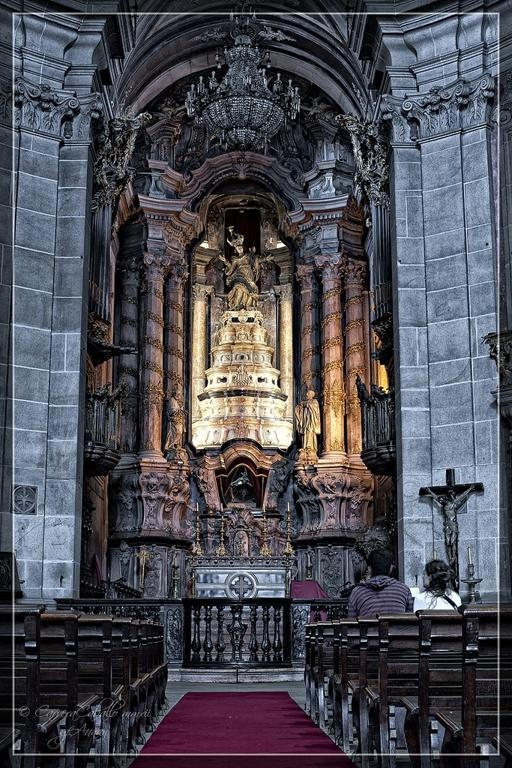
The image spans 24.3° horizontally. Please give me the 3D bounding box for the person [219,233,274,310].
[{"bbox_3d":[-0.240,-2.519,26.358,1.076,2.022,0.570,-7,-21,3],"label":"person"}]

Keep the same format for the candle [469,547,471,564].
[{"bbox_3d":[2.252,1.788,12.578,0.034,0.153,0.050,-2,-11,7],"label":"candle"}]

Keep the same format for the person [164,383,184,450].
[{"bbox_3d":[-1.614,0.699,23.390,0.339,1.317,0.781,0,-12,-4],"label":"person"}]

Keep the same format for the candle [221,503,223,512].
[{"bbox_3d":[-0.678,2.432,23.816,0.058,0.173,0.179,-2,-12,6],"label":"candle"}]

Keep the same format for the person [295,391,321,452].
[{"bbox_3d":[1.050,0.758,23.384,0.402,1.351,0.675,1,-11,-7],"label":"person"}]
